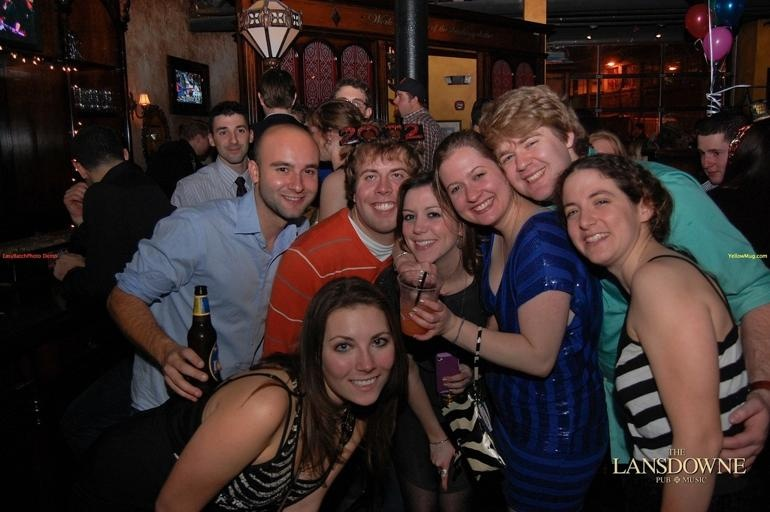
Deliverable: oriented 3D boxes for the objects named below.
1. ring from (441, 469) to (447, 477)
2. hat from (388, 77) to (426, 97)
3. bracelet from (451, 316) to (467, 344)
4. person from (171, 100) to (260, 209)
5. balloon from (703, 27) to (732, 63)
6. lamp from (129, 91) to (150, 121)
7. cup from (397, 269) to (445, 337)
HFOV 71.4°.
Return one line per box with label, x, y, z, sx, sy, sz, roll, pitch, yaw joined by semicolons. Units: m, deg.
ring;0.366;1.348;3.331;0.033;0.043;0.046;5;1;-7
hat;0.228;-1.637;5.124;0.250;0.135;0.187;11;21;1
bracelet;0.376;0.378;2.741;0.022;0.103;0.106;22;-2;11
person;-1.503;-0.927;5.279;1.190;1.103;0.566;-8;9;-25
balloon;4.226;-2.732;6.816;0.310;0.433;0.387;6;13;27
lamp;-4.091;-2.509;8.918;0.119;0.436;0.462;4;12;19
cup;0.169;0.205;2.844;0.306;0.366;0.289;1;8;0
